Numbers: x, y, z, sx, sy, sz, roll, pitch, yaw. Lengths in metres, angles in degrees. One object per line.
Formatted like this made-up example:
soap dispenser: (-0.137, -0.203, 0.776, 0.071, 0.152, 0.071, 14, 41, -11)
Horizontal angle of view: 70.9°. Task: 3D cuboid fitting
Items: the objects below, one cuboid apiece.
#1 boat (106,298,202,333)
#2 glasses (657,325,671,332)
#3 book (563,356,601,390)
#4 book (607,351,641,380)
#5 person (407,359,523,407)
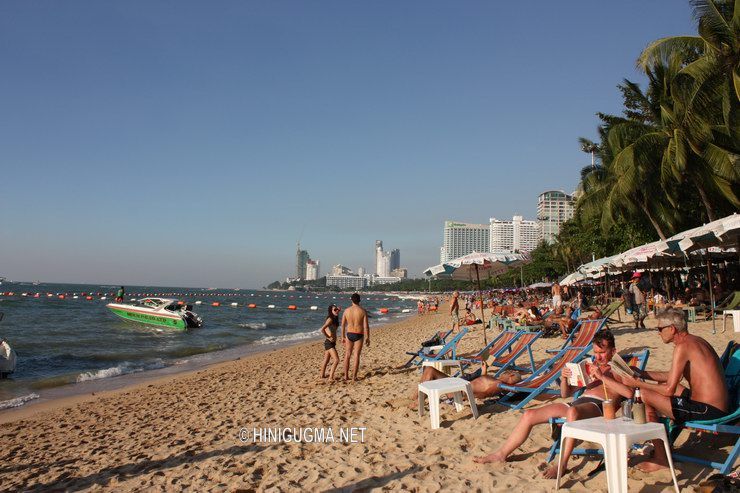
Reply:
boat: (-14.699, 4.508, 34.711, 8.126, 1.716, 2.244, 5, 0, 24)
glasses: (4.187, 1.170, 7.390, 0.135, 0.037, 0.119, 8, 2, 1)
book: (3.486, 2.145, 8.660, 0.591, 0.532, 0.216, -8, 16, 41)
book: (3.769, 1.796, 7.722, 0.365, 0.113, 0.339, 15, -4, -22)
person: (1.976, 2.661, 10.024, 1.719, 0.446, 0.940, -7, 13, 0)
